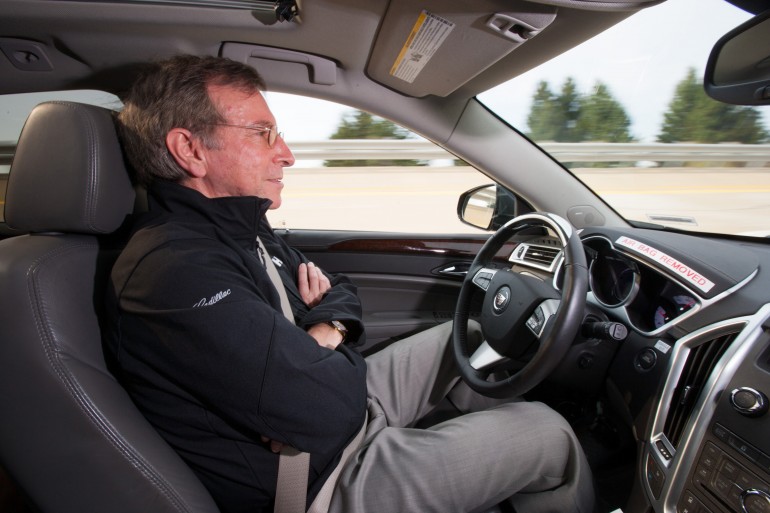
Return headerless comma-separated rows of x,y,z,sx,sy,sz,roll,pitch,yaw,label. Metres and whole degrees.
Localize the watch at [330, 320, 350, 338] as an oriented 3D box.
-0.171,0.267,1.827,0.054,0.069,0.024,15,68,44,watch
